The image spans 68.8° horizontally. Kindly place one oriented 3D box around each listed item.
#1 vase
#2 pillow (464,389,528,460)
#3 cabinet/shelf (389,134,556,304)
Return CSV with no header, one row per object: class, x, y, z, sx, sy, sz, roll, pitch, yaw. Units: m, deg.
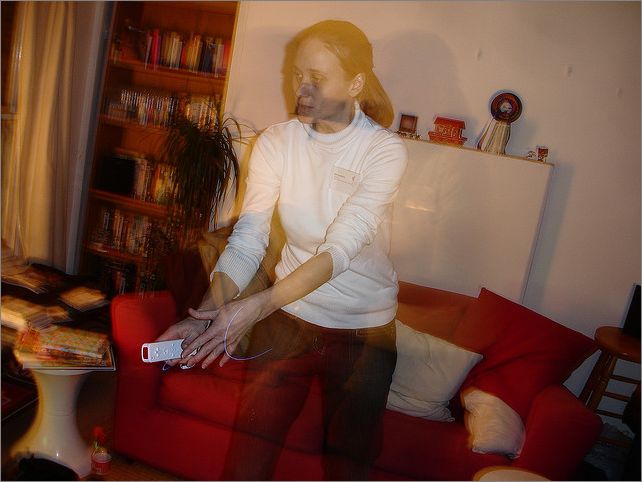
vase,-0.952,0.633,1.838,0.358,0.436,0.393,4,-3,4
pillow,0.652,0.695,1.781,0.211,0.168,0.178,10,10,3
cabinet/shelf,0.705,-0.120,2.244,0.653,0.634,0.223,10,10,5
